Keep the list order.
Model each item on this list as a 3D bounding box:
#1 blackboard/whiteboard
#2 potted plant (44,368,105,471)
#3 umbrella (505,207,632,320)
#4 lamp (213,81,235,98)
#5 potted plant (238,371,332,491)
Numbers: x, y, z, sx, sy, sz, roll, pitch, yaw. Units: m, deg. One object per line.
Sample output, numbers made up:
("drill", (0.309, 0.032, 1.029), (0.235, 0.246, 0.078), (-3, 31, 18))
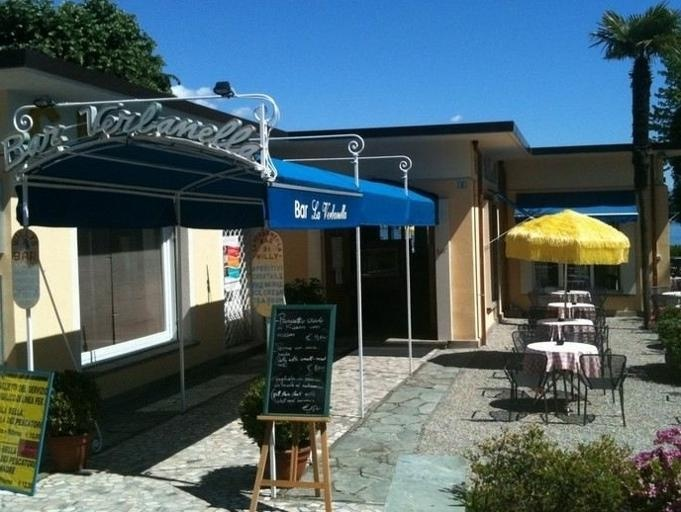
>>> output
("blackboard/whiteboard", (-0.407, 1.025, 6.603), (0.612, 1.077, 0.397), (-2, 0, 13))
("potted plant", (-2.928, 1.814, 7.362), (0.558, 1.087, 0.256), (-2, 0, -23))
("umbrella", (3.334, 0.097, 9.982), (1.311, 1.266, 1.403), (1, -3, 5))
("lamp", (-1.115, -1.593, 6.466), (0.202, 0.164, 0.381), (-2, 0, -12))
("potted plant", (-0.660, 1.802, 7.138), (0.911, 1.014, 0.969), (-2, -4, 20))
